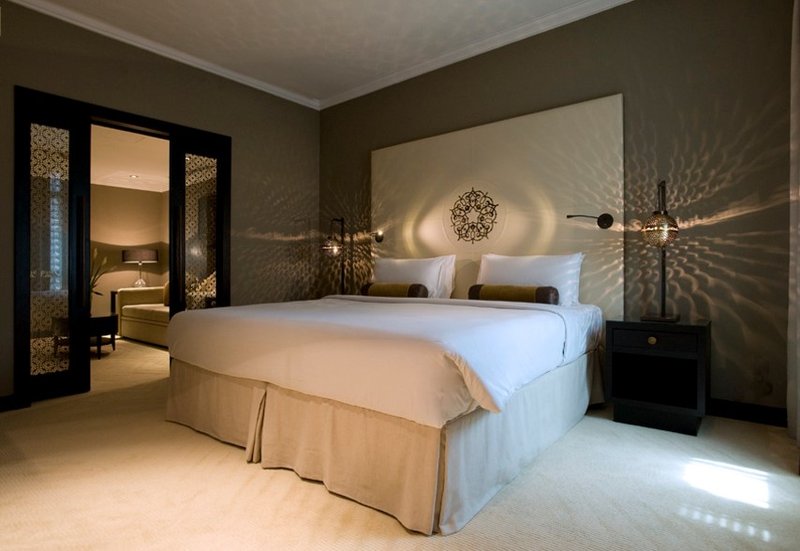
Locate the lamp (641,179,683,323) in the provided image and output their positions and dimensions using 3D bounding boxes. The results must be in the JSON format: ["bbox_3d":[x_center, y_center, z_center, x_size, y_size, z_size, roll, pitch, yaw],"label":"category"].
[{"bbox_3d":[2.073,-0.219,4.127,0.278,1.117,0.517,1,2,29],"label":"lamp"}]

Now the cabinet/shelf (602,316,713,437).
[{"bbox_3d":[1.978,0.774,4.192,0.928,1.180,0.751,-5,-11,38],"label":"cabinet/shelf"}]

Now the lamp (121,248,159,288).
[{"bbox_3d":[-4.485,-0.133,8.841,0.570,0.761,0.594,-1,4,-40],"label":"lamp"}]

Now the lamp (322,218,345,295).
[{"bbox_3d":[-0.839,-0.254,6.280,0.404,0.926,0.182,2,3,41],"label":"lamp"}]
